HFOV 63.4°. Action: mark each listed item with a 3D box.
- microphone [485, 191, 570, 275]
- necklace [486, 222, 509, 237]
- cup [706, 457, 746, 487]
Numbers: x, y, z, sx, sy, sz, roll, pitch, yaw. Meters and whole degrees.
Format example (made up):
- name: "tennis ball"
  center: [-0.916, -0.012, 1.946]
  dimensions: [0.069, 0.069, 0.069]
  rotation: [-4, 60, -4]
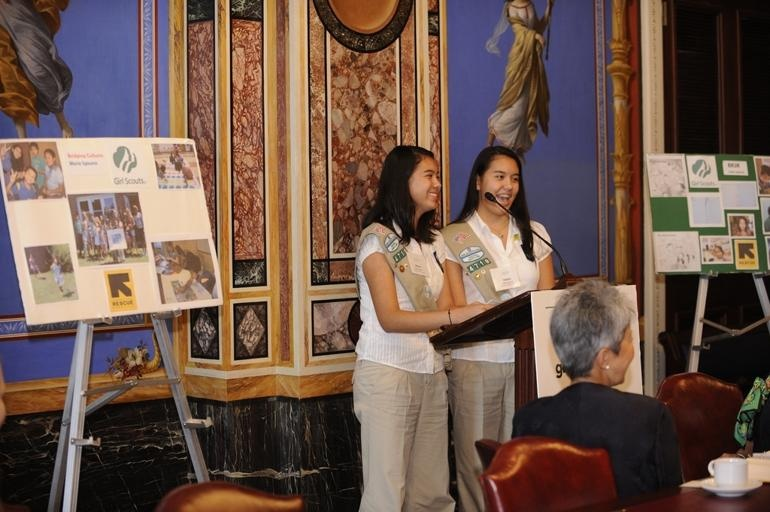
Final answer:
- name: "microphone"
  center: [0.870, -0.142, 3.876]
  dimensions: [0.779, 0.081, 0.204]
  rotation: [42, -7, -22]
- name: "necklace"
  center: [0.663, -0.143, 3.580]
  dimensions: [0.097, 0.080, 0.030]
  rotation: [-13, -11, -22]
- name: "cup"
  center: [1.138, 0.720, 2.085]
  dimensions: [0.097, 0.073, 0.077]
  rotation: [-5, -4, 18]
